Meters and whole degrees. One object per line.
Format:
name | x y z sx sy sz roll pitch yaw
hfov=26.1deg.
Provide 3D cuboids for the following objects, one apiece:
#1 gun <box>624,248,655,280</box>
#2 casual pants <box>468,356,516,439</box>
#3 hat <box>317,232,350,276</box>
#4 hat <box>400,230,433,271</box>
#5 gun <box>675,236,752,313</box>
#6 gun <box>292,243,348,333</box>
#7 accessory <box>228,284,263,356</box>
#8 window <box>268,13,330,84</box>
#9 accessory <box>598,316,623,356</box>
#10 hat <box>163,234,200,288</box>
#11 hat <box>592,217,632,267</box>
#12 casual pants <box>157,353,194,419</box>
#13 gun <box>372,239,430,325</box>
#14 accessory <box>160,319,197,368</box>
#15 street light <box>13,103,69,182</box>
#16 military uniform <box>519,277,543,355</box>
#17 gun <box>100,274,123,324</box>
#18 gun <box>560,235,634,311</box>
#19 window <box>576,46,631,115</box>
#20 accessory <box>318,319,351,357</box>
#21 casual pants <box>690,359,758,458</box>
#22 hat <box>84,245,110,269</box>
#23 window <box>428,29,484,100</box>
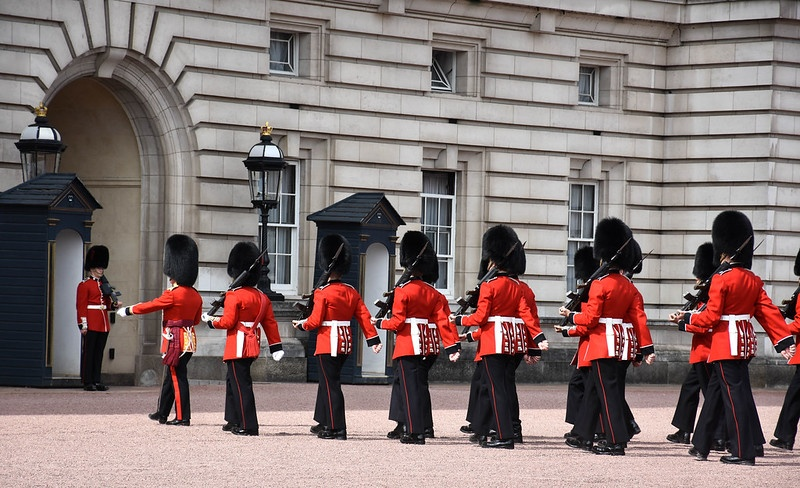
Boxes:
gun | 3.498 0.258 25.363 0.380 0.525 0.143 41 31 15
casual pants | 1.258 1.945 22.406 0.575 1.087 0.478 1 -2 -15
hat | -0.884 0.112 22.660 0.390 0.492 0.202 6 1 13
hat | 0.229 0.055 22.955 0.500 0.581 0.626 3 -10 7
gun | 4.201 0.253 23.681 0.875 0.292 2.086 0 32 23
gun | -1.123 0.606 23.905 0.109 1.421 0.533 39 5 23
accessory | -2.015 1.026 22.628 0.547 0.900 0.202 2 -2 -25
window | -1.710 -3.156 27.677 1.141 0.881 0.438 5 0 -14
accessory | 2.694 1.173 22.204 0.282 0.490 0.127 0 -2 6
hat | -2.985 0.197 23.219 0.453 0.665 0.472 2 9 18
hat | 2.740 -0.032 22.513 0.480 0.607 0.236 10 -9 9
casual pants | -3.005 1.833 22.843 0.432 1.009 0.355 17 12 39
gun | -0.002 0.519 23.703 0.513 1.375 0.149 35 5 0
accessory | -2.984 1.261 22.797 0.632 0.580 0.438 -5 -8 19
street light | -5.388 -1.526 25.425 0.668 1.153 0.414 0 -2 5
military uniform | 1.727 0.972 22.897 0.311 0.962 0.239 -6 -16 1
gun | -4.384 0.823 25.880 0.241 0.756 0.319 -2 15 44
gun | 2.695 0.396 23.635 0.379 0.105 1.535 30 -60 -34
window | 3.503 -2.841 29.655 1.247 1.027 0.641 3 -5 -20
accessory | -0.834 1.205 22.468 0.462 0.448 0.484 5 -8 -41
casual pants | 4.149 2.081 22.026 0.786 1.250 0.390 0 -2 13
hat | -4.520 0.184 25.575 0.290 0.306 0.362 6 -5 -35
window | 0.918 -3.016 28.712 1.304 1.084 0.524 2 -3 -22
